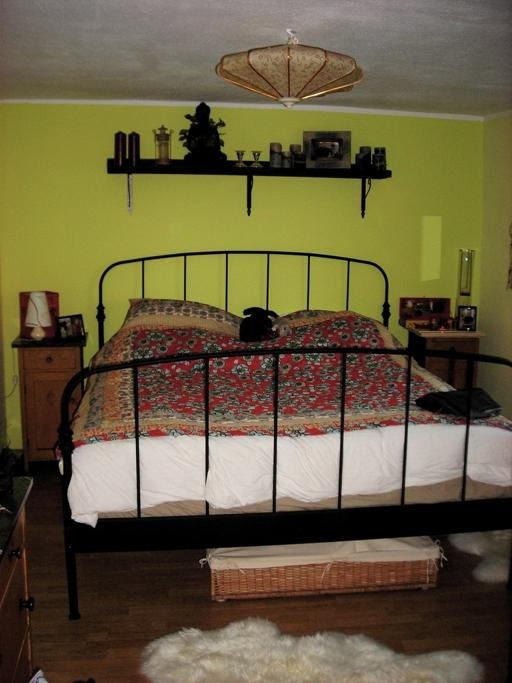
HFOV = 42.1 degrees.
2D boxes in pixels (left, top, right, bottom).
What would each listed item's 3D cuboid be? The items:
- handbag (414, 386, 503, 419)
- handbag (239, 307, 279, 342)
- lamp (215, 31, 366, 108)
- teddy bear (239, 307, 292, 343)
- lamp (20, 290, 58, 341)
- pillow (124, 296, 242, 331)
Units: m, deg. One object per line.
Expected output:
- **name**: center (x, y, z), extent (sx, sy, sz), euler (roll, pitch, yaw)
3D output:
- **handbag**: center (0.752, 0.221, 2.363), extent (0.172, 0.051, 0.162), euler (-2, 8, -28)
- **handbag**: center (0.027, -0.097, 3.560), extent (0.273, 0.173, 0.263), euler (1, 15, 6)
- **lamp**: center (0.120, -0.847, 2.070), extent (0.470, 0.172, 0.365), euler (-1, 9, -11)
- **teddy bear**: center (0.025, -0.092, 3.568), extent (0.198, 0.090, 0.245), euler (2, 12, -8)
- **lamp**: center (-1.224, -0.136, 3.746), extent (0.264, 0.268, 0.212), euler (5, 18, 5)
- **pillow**: center (-0.387, -0.132, 3.600), extent (0.378, 0.053, 0.282), euler (0, 23, -14)
